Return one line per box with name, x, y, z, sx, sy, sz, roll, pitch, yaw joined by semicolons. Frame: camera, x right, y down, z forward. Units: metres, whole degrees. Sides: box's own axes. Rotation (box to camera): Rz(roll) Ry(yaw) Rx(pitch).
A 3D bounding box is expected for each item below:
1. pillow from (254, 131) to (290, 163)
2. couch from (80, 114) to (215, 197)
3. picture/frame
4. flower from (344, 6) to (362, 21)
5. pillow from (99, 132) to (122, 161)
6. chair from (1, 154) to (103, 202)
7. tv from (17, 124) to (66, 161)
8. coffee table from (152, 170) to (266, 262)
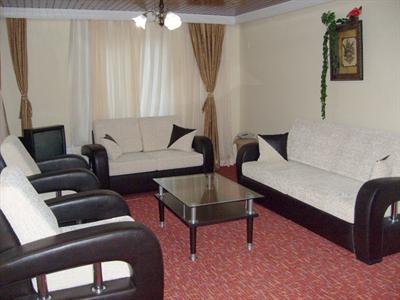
pillow;1.044;-0.030;4.491;0.455;0.442;0.158;0;-7;-2
couch;-0.852;0.061;5.158;1.879;1.126;1.037;-6;10;-28
picture/frame;1.878;-1.264;4.037;0.100;0.700;0.454;-9;15;-31
flower;1.919;-1.693;3.907;0.176;0.171;0.275;5;14;27
pillow;-1.363;-0.058;4.801;0.304;0.322;0.441;-5;13;-17
chair;-1.333;0.142;3.060;0.534;0.469;0.509;-4;14;-25
tv;-2.117;-0.105;4.258;0.345;0.453;0.483;17;21;35
coffee table;0.051;0.724;3.459;0.835;0.542;1.014;-3;5;-28
